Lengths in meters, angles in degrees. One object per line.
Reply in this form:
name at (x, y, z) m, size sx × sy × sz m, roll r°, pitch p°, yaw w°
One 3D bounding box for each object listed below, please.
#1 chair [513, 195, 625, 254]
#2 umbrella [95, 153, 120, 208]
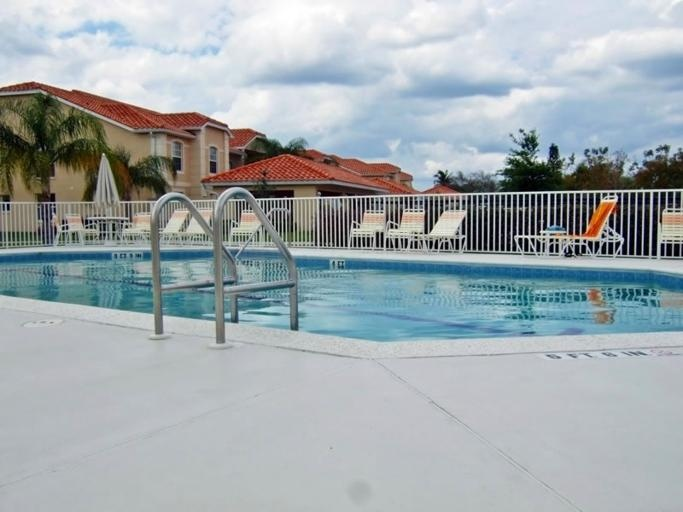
chair at (5.145, -0.653, 12.073) m, size 1.977 × 1.379 × 1.992 m, roll 1°, pitch 5°, yaw 3°
umbrella at (-7.862, -2.533, 18.086) m, size 0.773 × 1.800 × 1.429 m, roll -1°, pitch 5°, yaw -24°
